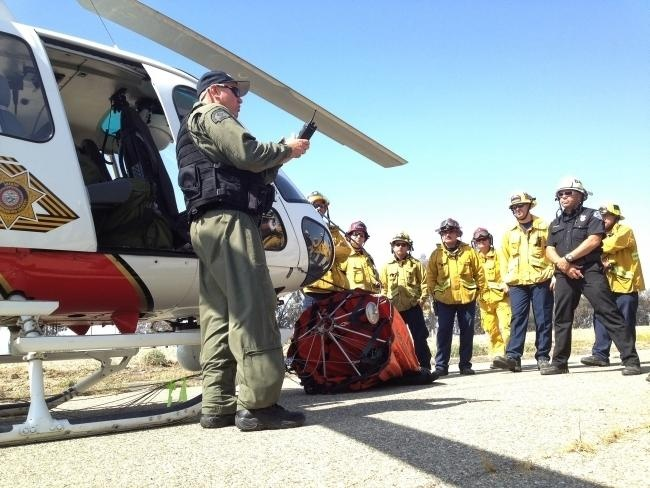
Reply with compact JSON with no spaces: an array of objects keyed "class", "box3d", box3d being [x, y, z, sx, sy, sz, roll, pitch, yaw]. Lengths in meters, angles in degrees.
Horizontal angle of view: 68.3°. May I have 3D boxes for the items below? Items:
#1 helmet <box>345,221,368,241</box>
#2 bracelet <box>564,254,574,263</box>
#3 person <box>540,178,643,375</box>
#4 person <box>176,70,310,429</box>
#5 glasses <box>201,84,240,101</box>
[{"class":"helmet","box3d":[0.477,-0.214,7.114,0.329,0.203,0.342,4,-16,-1]},{"class":"bracelet","box3d":[2.759,0.163,5.487,0.100,0.065,0.092,43,-14,9]},{"class":"person","box3d":[3.011,0.363,5.587,0.997,2.346,0.519,-1,-6,22]},{"class":"person","box3d":[-0.602,-0.027,3.274,0.886,2.533,0.481,0,-6,14]},{"class":"glasses","box3d":[-0.738,-1.083,3.469,0.149,0.037,0.138,-13,0,7]}]
